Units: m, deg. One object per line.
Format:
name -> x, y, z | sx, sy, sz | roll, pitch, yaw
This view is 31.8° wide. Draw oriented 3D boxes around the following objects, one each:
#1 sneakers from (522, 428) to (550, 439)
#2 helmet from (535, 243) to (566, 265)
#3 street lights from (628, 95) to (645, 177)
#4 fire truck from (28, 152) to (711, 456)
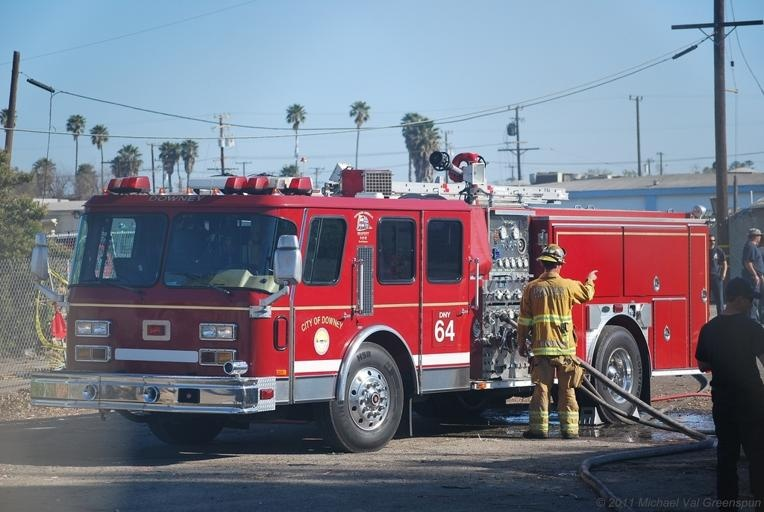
sneakers -> 2.089, 2.428, 18.312 | 0.258, 0.114, 0.150 | -8, -7, 37
helmet -> 2.346, -0.035, 18.481 | 0.331, 0.167, 0.247 | 6, -5, -36
street lights -> 15.285, -7.191, 79.804 | 0.954, 4.983, 0.837 | 4, -8, -26
fire truck -> 0.115, 0.601, 18.740 | 7.849, 3.147, 3.917 | 3, -5, -41
